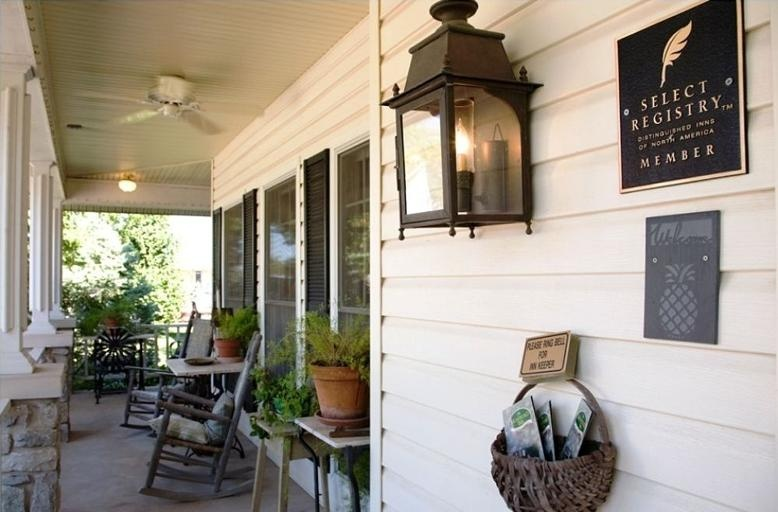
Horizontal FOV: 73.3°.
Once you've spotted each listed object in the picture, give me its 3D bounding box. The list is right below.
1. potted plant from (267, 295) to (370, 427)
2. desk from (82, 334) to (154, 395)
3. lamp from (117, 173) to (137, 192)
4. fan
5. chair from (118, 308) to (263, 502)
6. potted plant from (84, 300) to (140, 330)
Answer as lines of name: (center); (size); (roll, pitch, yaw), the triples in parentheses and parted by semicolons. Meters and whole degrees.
potted plant: (-0.459, 0.758, 3.542); (0.716, 0.816, 0.973); (0, -8, -17)
desk: (-4.607, 1.821, 8.903); (0.958, 1.130, 0.756); (-1, -13, -27)
lamp: (-4.489, -1.226, 8.856); (0.300, 0.275, 0.717); (0, -4, -27)
fan: (-2.064, -1.425, 4.813); (1.403, 0.305, 1.419); (3, -2, -44)
chair: (-1.825, 1.679, 5.346); (1.538, 2.013, 1.262); (8, -18, -26)
potted plant: (-5.309, 1.067, 9.848); (0.766, 0.505, 0.770); (6, -13, -34)
